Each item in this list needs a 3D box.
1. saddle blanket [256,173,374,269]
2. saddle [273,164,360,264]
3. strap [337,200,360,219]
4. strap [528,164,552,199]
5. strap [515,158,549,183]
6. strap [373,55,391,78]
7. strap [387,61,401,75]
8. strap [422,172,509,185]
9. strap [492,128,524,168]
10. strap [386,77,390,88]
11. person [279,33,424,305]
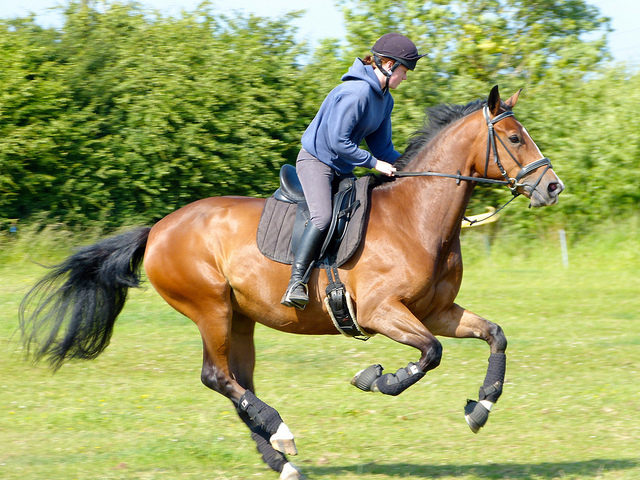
[{"bbox_3d":[-0.135,-0.258,7.683,1.087,0.851,1.332,8,14,34],"label":"saddle blanket"},{"bbox_3d":[-0.100,-0.281,7.497,1.083,0.750,0.874,-9,16,-44],"label":"saddle"},{"bbox_3d":[0.258,-0.275,7.281,0.223,0.053,0.116,-32,29,1],"label":"strap"},{"bbox_3d":[1.954,-0.514,6.977,0.040,0.399,0.063,44,-6,9],"label":"strap"},{"bbox_3d":[1.911,-0.619,7.025,0.257,0.044,0.202,-21,-5,-1],"label":"strap"},{"bbox_3d":[0.562,-1.600,7.304,0.061,0.207,0.163,-45,3,-22],"label":"strap"},{"bbox_3d":[0.686,-1.586,7.309,0.200,0.048,0.048,-31,59,-7],"label":"strap"},{"bbox_3d":[1.335,-0.560,7.239,0.779,0.099,0.118,3,11,19],"label":"strap"},{"bbox_3d":[1.689,-0.815,7.063,0.298,0.336,0.026,7,16,30],"label":"strap"},{"bbox_3d":[0.626,-1.459,7.329,0.028,0.054,0.063,10,43,9],"label":"strap"},{"bbox_3d":[0.243,-0.666,7.413,0.854,2.536,1.604,11,17,39],"label":"person"}]
